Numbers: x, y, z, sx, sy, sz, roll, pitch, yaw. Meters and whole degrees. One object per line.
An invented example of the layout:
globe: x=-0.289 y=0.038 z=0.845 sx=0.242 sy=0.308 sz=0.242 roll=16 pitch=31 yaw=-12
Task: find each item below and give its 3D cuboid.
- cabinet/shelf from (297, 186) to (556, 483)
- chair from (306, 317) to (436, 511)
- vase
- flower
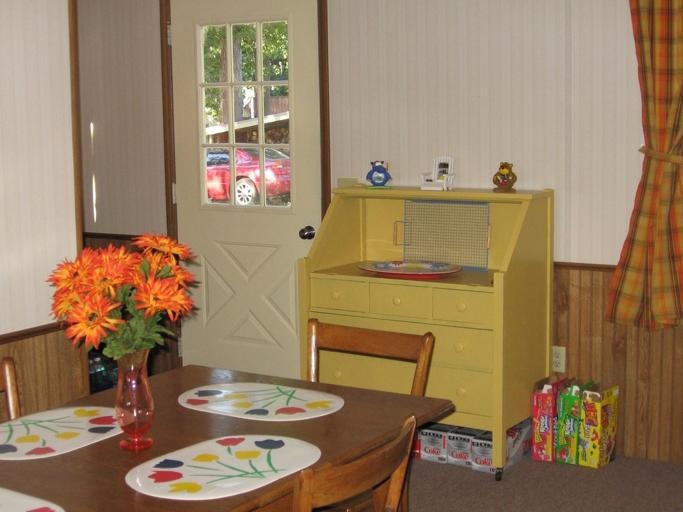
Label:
cabinet/shelf: x=0.480 y=0.389 z=2.927 sx=1.395 sy=1.631 sz=0.860 roll=3 pitch=5 yaw=28
chair: x=0.164 y=0.540 z=2.301 sx=0.479 sy=0.887 sz=0.485 roll=2 pitch=2 yaw=24
vase: x=-0.534 y=0.370 z=1.550 sx=0.097 sy=0.273 sz=0.061 roll=-4 pitch=11 yaw=-8
flower: x=-0.544 y=0.154 z=1.512 sx=0.319 sy=0.268 sz=0.302 roll=2 pitch=25 yaw=9
